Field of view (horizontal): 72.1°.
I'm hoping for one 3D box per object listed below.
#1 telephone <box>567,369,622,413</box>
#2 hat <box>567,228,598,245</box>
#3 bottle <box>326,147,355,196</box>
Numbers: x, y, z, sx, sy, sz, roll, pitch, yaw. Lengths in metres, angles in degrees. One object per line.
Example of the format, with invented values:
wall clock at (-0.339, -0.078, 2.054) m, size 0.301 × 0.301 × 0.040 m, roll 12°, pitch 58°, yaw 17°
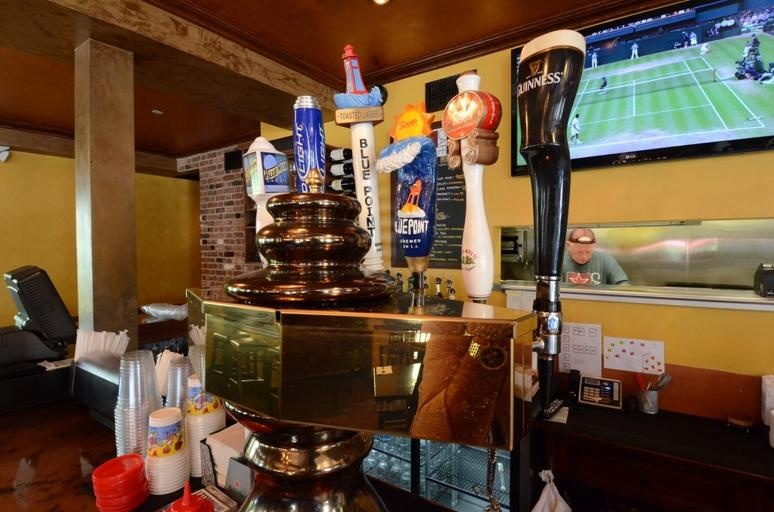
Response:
telephone at (1.343, 0.839, 3.419) m, size 0.163 × 0.254 × 0.292 m, roll -31°, pitch 27°, yaw -32°
hat at (1.501, -0.155, 4.095) m, size 0.134 × 0.135 × 0.161 m, roll 5°, pitch 7°, yaw 13°
bottle at (-0.385, -0.694, 4.229) m, size 0.197 × 0.323 × 0.733 m, roll -2°, pitch 1°, yaw -6°
